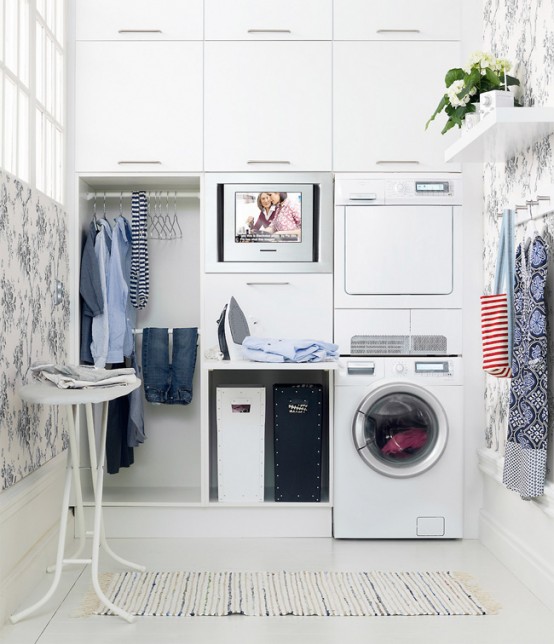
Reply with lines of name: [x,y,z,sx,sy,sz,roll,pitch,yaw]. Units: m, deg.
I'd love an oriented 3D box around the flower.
flower: [0.791,-0.929,2.511,0.165,0.284,0.353,-1,3,-35]

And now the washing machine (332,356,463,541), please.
washing machine: [0.581,0.627,3.306,0.613,1.297,0.718,0,-3,0]
